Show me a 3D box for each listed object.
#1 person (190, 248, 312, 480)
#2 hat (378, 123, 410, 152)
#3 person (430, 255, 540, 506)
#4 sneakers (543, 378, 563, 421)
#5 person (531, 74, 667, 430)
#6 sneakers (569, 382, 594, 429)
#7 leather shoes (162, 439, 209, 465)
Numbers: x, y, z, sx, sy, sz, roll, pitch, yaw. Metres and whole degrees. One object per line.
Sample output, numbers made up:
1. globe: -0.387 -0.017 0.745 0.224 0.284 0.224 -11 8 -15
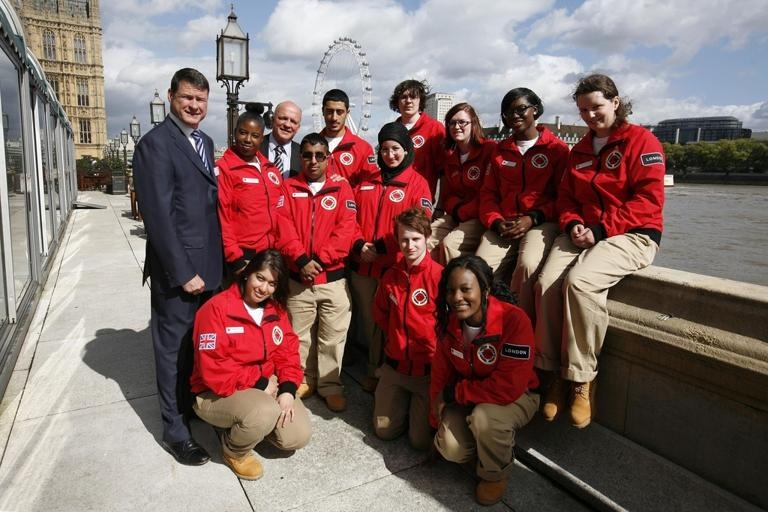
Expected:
1. person: -1.116 0.832 3.902 0.890 1.662 0.650 -8 16 -25
2. hat: 0.136 -1.224 4.858 0.365 0.286 0.193 -12 18 -36
3. person: 0.746 0.895 3.810 0.780 1.765 0.728 12 20 41
4. sneakers: 1.385 1.169 3.910 0.124 0.157 0.404 6 49 31
5. person: 1.791 -0.080 3.997 0.862 2.827 1.317 8 17 30
6. sneakers: 1.580 1.153 3.825 0.141 0.189 0.431 -4 31 32
7. leather shoes: -1.649 1.600 3.963 0.386 0.163 0.160 14 9 31
